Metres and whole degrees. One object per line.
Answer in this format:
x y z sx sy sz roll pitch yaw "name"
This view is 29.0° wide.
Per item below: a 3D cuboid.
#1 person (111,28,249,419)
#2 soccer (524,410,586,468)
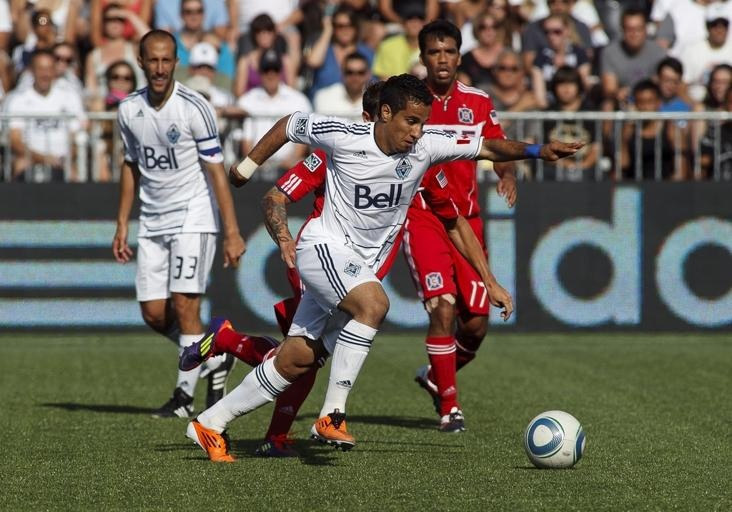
-1.701 -0.317 12.989 1.043 3.593 1.084 -6 15 -11 "person"
1.502 1.502 11.407 0.460 0.421 0.209 1 11 7 "soccer"
